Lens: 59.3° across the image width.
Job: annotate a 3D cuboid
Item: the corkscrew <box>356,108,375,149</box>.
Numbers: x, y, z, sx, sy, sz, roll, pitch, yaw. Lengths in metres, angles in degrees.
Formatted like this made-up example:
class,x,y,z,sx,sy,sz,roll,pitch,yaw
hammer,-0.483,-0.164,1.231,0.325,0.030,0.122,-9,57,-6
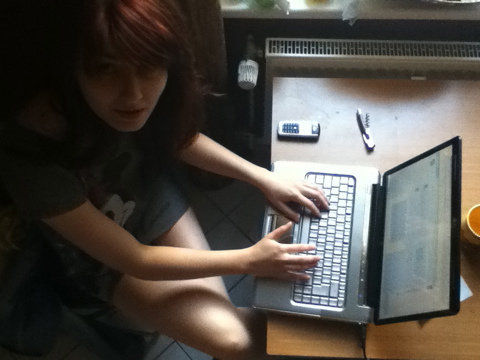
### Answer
class,x,y,z,sx,sy,sz,roll,pitch,yaw
corkscrew,0.392,-0.172,1.354,0.062,0.205,0.058,2,81,11

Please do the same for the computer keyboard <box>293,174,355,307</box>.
class,x,y,z,sx,sy,sz,roll,pitch,yaw
computer keyboard,0.257,0.164,1.173,0.187,0.446,0.028,5,26,11

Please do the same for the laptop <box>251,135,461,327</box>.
class,x,y,z,sx,sy,sz,roll,pitch,yaw
laptop,0.276,0.128,1.073,0.451,0.266,0.457,7,75,6

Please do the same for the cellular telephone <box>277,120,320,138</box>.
class,x,y,z,sx,sy,sz,roll,pitch,yaw
cellular telephone,0.179,-0.155,1.267,0.115,0.027,0.056,1,82,-3
